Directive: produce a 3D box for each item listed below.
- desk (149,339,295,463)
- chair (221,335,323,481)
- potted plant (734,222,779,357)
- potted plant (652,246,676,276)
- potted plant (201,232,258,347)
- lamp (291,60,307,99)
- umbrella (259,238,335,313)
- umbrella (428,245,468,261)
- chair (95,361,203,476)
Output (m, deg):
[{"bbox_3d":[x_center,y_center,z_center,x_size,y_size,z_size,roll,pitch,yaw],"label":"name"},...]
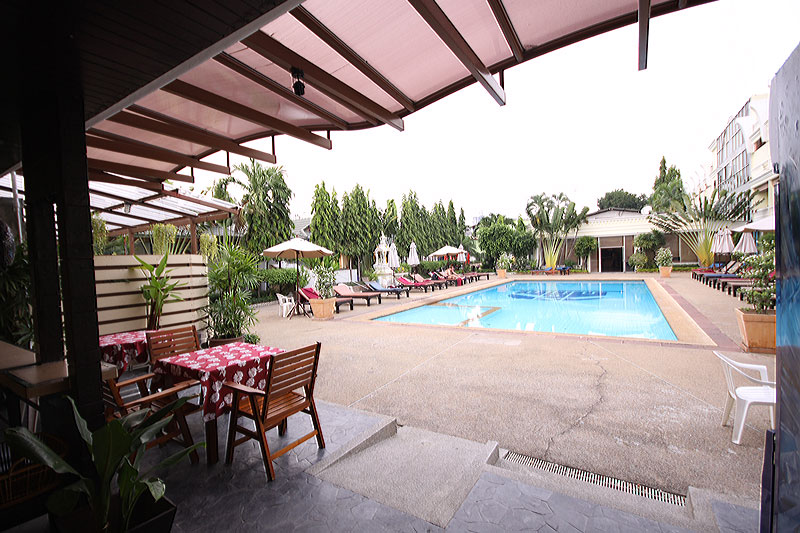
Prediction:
[{"bbox_3d":[-1.902,1.780,5.881,1.356,0.869,1.379,-8,-15,1],"label":"desk"},{"bbox_3d":[-1.511,1.648,5.494,0.862,1.302,1.019,-1,2,26],"label":"chair"},{"bbox_3d":[6.919,0.621,8.689,0.657,1.842,1.550,10,16,37],"label":"potted plant"},{"bbox_3d":[15.894,-0.178,27.211,0.864,1.617,3.356,7,15,30],"label":"potted plant"},{"bbox_3d":[-3.704,0.609,10.050,1.125,2.273,2.662,-5,14,-19],"label":"potted plant"},{"bbox_3d":[-1.205,-2.210,5.359,0.162,0.308,0.129,-3,13,-13],"label":"lamp"},{"bbox_3d":[-3.493,0.135,15.252,2.157,1.990,2.146,-2,-1,-25],"label":"umbrella"},{"bbox_3d":[3.174,-0.893,29.732,1.609,0.817,1.740,-6,2,14],"label":"umbrella"},{"bbox_3d":[-3.071,1.699,5.391,0.924,1.339,0.958,2,6,34],"label":"chair"}]
